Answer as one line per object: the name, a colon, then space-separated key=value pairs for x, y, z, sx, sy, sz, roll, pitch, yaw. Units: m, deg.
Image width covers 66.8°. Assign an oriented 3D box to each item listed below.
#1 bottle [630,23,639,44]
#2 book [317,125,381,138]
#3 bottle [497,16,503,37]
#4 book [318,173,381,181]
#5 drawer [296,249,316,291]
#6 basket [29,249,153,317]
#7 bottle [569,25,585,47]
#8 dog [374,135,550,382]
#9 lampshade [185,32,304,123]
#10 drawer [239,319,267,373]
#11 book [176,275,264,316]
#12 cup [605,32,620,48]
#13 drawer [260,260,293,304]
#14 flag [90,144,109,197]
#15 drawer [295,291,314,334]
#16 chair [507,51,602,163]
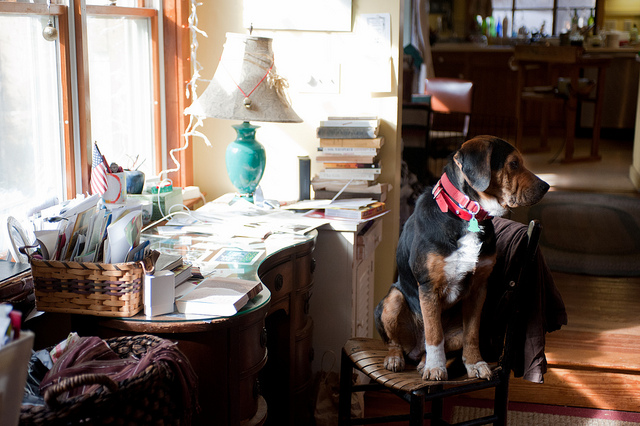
bottle: x=5.056 y=-2.846 z=7.803 sx=0.114 sy=0.268 sz=0.370 roll=8 pitch=16 yaw=32
book: x=0.154 y=-0.451 z=2.730 sx=0.330 sy=0.052 sz=0.071 roll=2 pitch=14 yaw=9
bottle: x=3.164 y=-3.283 z=8.519 sx=0.096 sy=0.364 sz=0.238 roll=3 pitch=14 yaw=17
book: x=0.147 y=-0.194 z=2.755 sx=0.312 sy=0.028 sz=0.043 roll=1 pitch=13 yaw=6
drawer: x=-0.058 y=0.260 z=2.295 sx=0.049 sy=0.165 sz=0.203 roll=3 pitch=14 yaw=15
basket: x=-0.756 y=0.237 z=1.613 sx=0.296 sy=0.118 sz=0.214 roll=0 pitch=10 yaw=-3
bottle: x=3.925 y=-2.718 z=7.413 sx=0.231 sy=0.364 sz=0.673 roll=6 pitch=15 yaw=26
dog: x=0.530 y=0.166 z=1.866 sx=0.584 sy=0.906 sz=0.372 roll=-3 pitch=14 yaw=-8
lampshade: x=-0.381 y=-0.738 z=2.550 sx=0.604 sy=0.388 sz=0.612 roll=9 pitch=22 yaw=5
drawer: x=-0.235 y=0.471 z=1.730 sx=0.132 sy=0.135 sz=0.149 roll=0 pitch=10 yaw=5
book: x=-0.339 y=0.291 z=1.675 sx=0.241 sy=0.046 sz=0.261 roll=3 pitch=12 yaw=22
cup: x=4.641 y=-2.741 z=7.796 sx=0.276 sy=0.210 sz=0.279 roll=-1 pitch=5 yaw=0
drawer: x=-0.173 y=0.293 z=2.112 sx=0.145 sy=0.154 sz=0.241 roll=0 pitch=3 yaw=16
flag: x=-0.956 y=-0.186 z=2.096 sx=0.065 sy=0.215 sz=0.116 roll=-10 pitch=16 yaw=-32
drawer: x=-0.075 y=0.475 z=2.292 sx=0.141 sy=0.140 sz=0.151 roll=0 pitch=6 yaw=1
chair: x=3.653 y=-1.639 z=7.547 sx=1.405 sy=1.525 sz=2.531 roll=6 pitch=15 yaw=25
